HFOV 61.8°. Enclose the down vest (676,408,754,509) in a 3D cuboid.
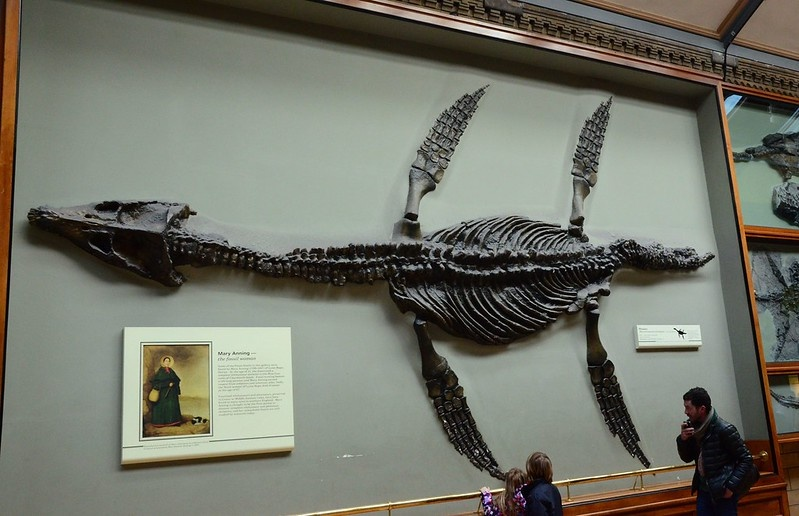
[{"bbox_3d":[2.512,1.567,5.266,0.432,0.700,0.560,13,-16,-42],"label":"down vest"}]
